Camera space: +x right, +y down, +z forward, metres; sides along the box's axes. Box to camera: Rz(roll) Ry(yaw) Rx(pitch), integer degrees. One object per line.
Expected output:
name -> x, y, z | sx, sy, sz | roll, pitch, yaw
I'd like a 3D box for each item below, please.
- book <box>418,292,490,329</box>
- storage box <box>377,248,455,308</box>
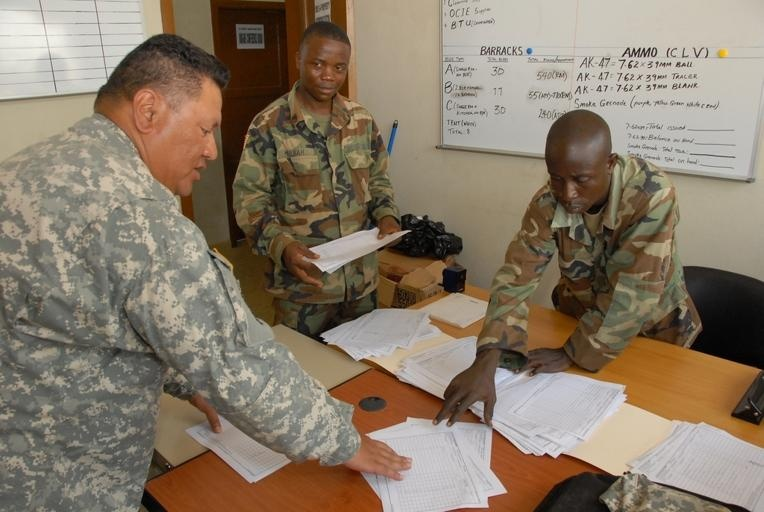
book -> 0.334, 0.237, 2.342 | 0.165, 0.020, 0.178 | 13, 23, 29
storage box -> 0.178, 0.192, 3.468 | 0.408, 0.205, 0.396 | -26, 27, -39
